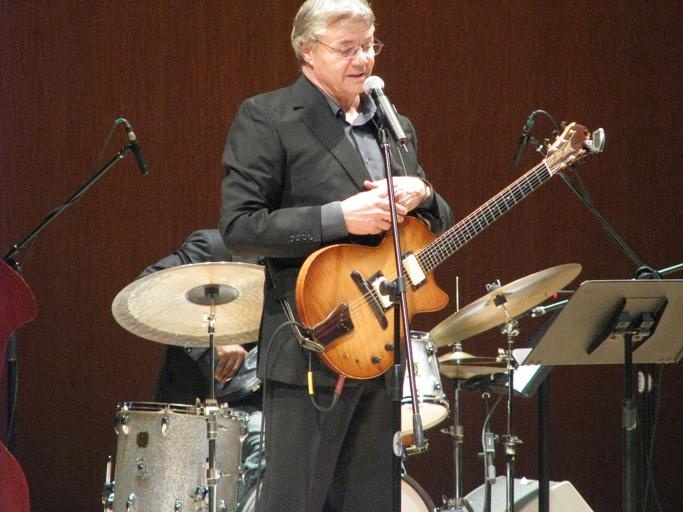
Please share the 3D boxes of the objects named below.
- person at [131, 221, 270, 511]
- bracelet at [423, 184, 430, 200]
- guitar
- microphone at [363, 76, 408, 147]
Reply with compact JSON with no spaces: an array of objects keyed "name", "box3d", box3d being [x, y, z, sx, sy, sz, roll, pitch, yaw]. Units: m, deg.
[{"name":"person","box3d":[-0.756,0.588,6.542,0.983,1.355,1.364,8,11,35]},{"name":"bracelet","box3d":[0.429,-0.316,5.331,0.012,0.057,0.056,-9,-30,10]},{"name":"guitar","box3d":[0.550,-0.185,5.500,2.216,0.803,0.231,-40,14,-26]},{"name":"microphone","box3d":[0.196,-0.719,5.291,0.128,0.478,0.125,20,-55,-33]}]
